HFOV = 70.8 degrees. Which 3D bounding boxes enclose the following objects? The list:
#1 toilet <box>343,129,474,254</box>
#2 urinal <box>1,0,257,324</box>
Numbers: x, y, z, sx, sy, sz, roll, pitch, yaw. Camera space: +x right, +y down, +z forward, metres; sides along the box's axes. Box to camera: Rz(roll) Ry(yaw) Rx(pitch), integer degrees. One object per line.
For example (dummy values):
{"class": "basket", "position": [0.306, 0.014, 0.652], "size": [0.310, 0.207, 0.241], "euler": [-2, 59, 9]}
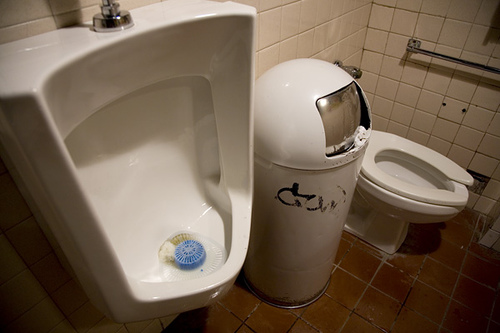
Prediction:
{"class": "toilet", "position": [0.755, 0.166, 1.824], "size": [0.569, 0.415, 0.509], "euler": [28, 37, 30]}
{"class": "urinal", "position": [-0.332, -0.031, 0.948], "size": [0.388, 0.783, 0.601], "euler": [32, 45, 28]}
